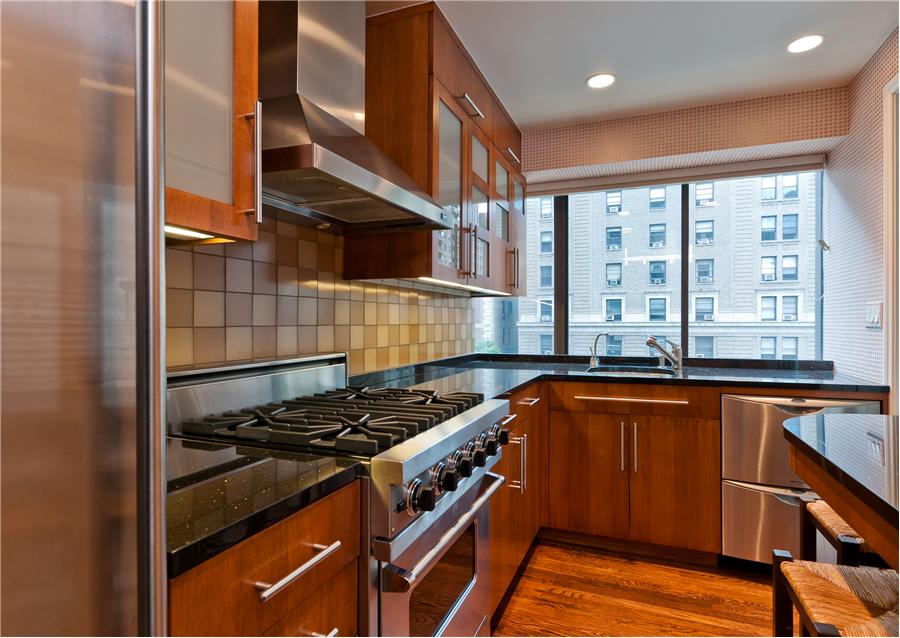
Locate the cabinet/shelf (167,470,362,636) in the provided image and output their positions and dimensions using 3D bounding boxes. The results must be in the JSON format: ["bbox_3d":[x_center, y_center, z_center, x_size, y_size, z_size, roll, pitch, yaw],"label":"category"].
[{"bbox_3d":[-0.424,0.663,1.667,0.115,0.437,0.530,0,1,34],"label":"cabinet/shelf"}]

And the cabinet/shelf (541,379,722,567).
[{"bbox_3d":[1.089,0.752,3.645,0.946,0.831,0.601,-2,-7,36],"label":"cabinet/shelf"}]

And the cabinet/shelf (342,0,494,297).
[{"bbox_3d":[-0.154,-0.751,2.840,0.291,0.767,1.246,-2,-5,17],"label":"cabinet/shelf"}]

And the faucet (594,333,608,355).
[{"bbox_3d":[0.935,0.165,4.267,0.070,0.135,0.149,0,1,35],"label":"faucet"}]
